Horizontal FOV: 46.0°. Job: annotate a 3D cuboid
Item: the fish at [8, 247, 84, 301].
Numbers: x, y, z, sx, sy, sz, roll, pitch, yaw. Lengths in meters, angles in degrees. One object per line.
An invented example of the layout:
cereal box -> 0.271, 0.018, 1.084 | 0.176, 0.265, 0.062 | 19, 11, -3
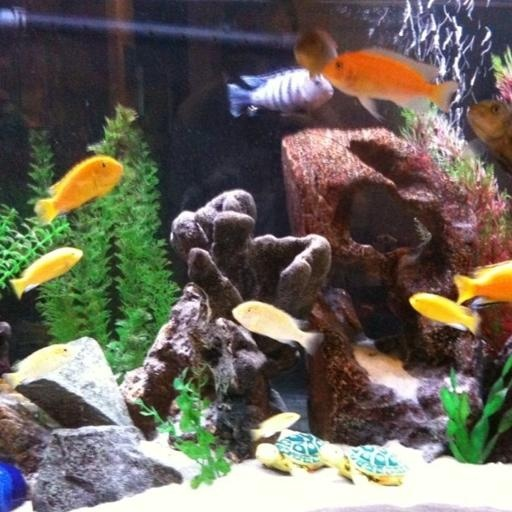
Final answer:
fish -> -1.139, 0.099, 3.287 | 0.374, 0.300, 0.134 | 2, 15, 1

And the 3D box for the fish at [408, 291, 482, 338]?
fish -> 1.071, 0.323, 3.363 | 0.426, 0.257, 0.173 | -5, 16, -23

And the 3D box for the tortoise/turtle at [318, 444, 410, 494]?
tortoise/turtle -> 0.544, 1.066, 3.088 | 0.436, 0.148, 0.227 | 4, 15, 6

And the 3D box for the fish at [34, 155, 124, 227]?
fish -> -0.956, -0.347, 3.225 | 0.486, 0.399, 0.247 | 1, 15, -5

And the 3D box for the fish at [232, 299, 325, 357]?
fish -> 0.119, 0.369, 3.053 | 0.425, 0.319, 0.204 | -7, 18, -32

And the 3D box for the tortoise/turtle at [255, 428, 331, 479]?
tortoise/turtle -> 0.186, 1.047, 3.169 | 0.356, 0.175, 0.261 | 4, 15, 6
